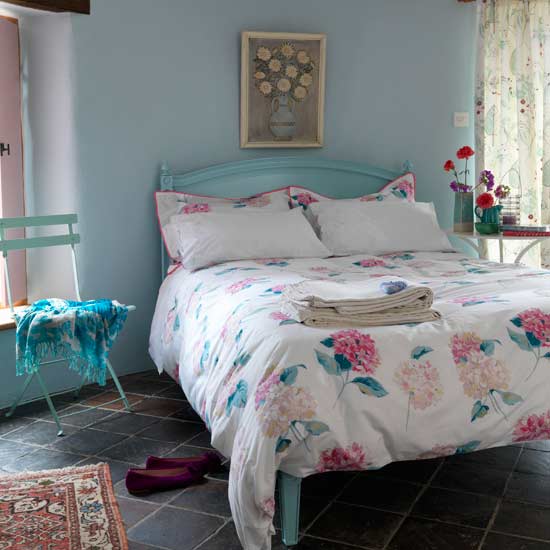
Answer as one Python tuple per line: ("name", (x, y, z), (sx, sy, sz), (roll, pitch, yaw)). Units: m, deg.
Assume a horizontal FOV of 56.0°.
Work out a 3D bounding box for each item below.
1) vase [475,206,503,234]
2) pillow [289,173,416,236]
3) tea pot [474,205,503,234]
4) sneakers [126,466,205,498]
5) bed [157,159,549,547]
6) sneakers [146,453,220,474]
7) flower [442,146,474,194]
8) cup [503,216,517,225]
("vase", (1.538, -0.383, 3.706), (0.260, 0.197, 0.173), (0, -1, 17))
("pillow", (0.537, -0.550, 3.643), (0.617, 0.402, 0.180), (-1, -11, -16))
("tea pot", (1.518, -0.383, 3.658), (0.279, 0.210, 0.185), (0, -1, 17))
("sneakers", (-0.391, 0.730, 1.873), (0.279, 0.076, 0.090), (-3, 8, -11))
("bed", (0.438, 0.231, 2.992), (2.131, 1.411, 2.111), (-3, 19, -11))
("sneakers", (-0.355, 0.717, 1.980), (0.300, 0.074, 0.090), (-2, 16, -1))
("flower", (1.388, -0.755, 3.879), (0.237, 0.308, 0.163), (0, -19, 17))
("cup", (1.639, -0.383, 3.599), (0.130, 0.068, 0.062), (0, 2, 5))
